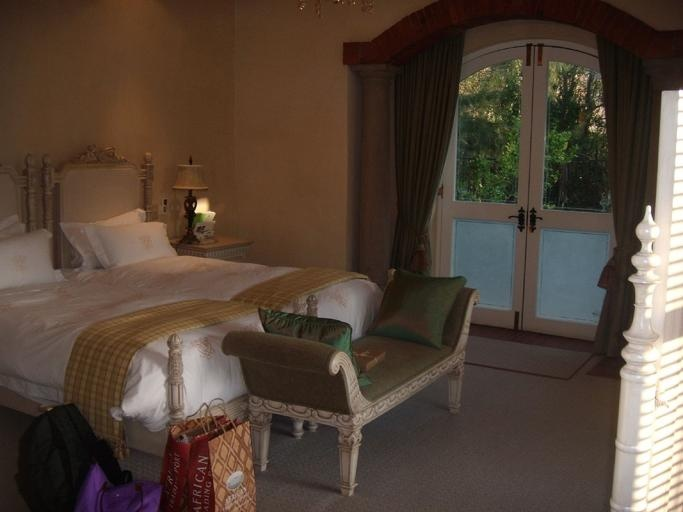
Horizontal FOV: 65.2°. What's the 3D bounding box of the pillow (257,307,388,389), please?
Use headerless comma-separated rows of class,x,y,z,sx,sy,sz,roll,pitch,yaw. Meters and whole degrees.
pillow,-0.206,0.504,3.289,0.521,0.175,0.466,10,17,14

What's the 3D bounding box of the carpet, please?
carpet,1.933,0.999,5.574,1.252,0.032,1.165,6,13,24

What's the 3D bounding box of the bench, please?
bench,0.237,0.892,4.001,0.788,1.086,2.127,3,8,34

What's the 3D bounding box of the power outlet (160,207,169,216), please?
power outlet,-2.131,-0.540,6.465,0.066,0.131,0.131,2,5,19
